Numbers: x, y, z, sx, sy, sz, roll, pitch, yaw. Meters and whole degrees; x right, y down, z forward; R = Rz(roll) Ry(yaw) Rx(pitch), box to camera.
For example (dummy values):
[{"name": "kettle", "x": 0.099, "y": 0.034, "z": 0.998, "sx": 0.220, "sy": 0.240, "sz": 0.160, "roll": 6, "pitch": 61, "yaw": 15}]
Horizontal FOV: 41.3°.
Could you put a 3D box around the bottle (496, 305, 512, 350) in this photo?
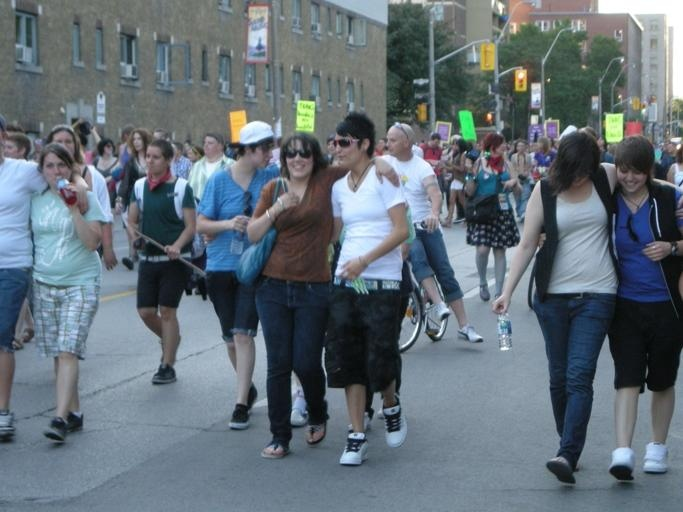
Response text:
[{"name": "bottle", "x": 1.113, "y": 0.506, "z": 6.226, "sx": 0.078, "sy": 0.328, "sz": 0.314, "roll": 0, "pitch": 8, "yaw": 7}]

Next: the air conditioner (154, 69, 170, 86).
[{"name": "air conditioner", "x": -6.974, "y": -7.014, "z": 35.410, "sx": 0.566, "sy": 0.843, "sz": 0.555, "roll": -1, "pitch": 4, "yaw": -39}]

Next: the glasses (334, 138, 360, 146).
[{"name": "glasses", "x": 0.037, "y": -0.789, "z": 6.275, "sx": 0.157, "sy": 0.063, "sz": 0.045, "roll": -2, "pitch": 8, "yaw": -2}]

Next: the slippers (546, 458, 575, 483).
[{"name": "slippers", "x": 1.361, "y": 1.353, "z": 5.631, "sx": 0.099, "sy": 0.249, "sz": 0.105, "roll": -6, "pitch": 34, "yaw": 38}]

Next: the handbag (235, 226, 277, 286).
[{"name": "handbag", "x": -0.595, "y": -0.004, "z": 6.371, "sx": 0.284, "sy": 0.401, "sz": 0.100, "roll": -2, "pitch": 8, "yaw": -8}]

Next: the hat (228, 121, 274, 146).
[{"name": "hat", "x": -0.703, "y": -0.969, "z": 7.124, "sx": 0.243, "sy": 0.135, "sz": 0.186, "roll": -6, "pitch": 9, "yaw": 19}]

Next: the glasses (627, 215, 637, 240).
[{"name": "glasses", "x": 1.845, "y": -0.184, "z": 5.835, "sx": 0.022, "sy": 0.125, "sz": 0.086, "roll": -9, "pitch": -3, "yaw": 10}]

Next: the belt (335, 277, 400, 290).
[{"name": "belt", "x": 0.178, "y": 0.184, "z": 6.205, "sx": 0.443, "sy": 0.105, "sz": 0.088, "roll": -2, "pitch": 8, "yaw": -5}]

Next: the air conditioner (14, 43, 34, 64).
[{"name": "air conditioner", "x": -9.724, "y": -6.137, "z": 27.819, "sx": 0.408, "sy": 0.582, "sz": 0.768, "roll": 0, "pitch": 3, "yaw": 5}]

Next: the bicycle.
[{"name": "bicycle", "x": 0.839, "y": 0.549, "z": 9.957, "sx": 0.481, "sy": 1.001, "sz": 1.102, "roll": 2, "pitch": 8, "yaw": 10}]

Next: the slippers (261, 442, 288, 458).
[{"name": "slippers", "x": -0.465, "y": 1.341, "z": 6.324, "sx": 0.087, "sy": 0.082, "sz": 0.188, "roll": -6, "pitch": -10, "yaw": 44}]

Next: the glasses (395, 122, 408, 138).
[{"name": "glasses", "x": 0.606, "y": -1.299, "z": 9.336, "sx": 0.105, "sy": 0.148, "sz": 0.054, "roll": 8, "pitch": 21, "yaw": 44}]

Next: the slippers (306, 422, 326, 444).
[{"name": "slippers", "x": -0.190, "y": 1.271, "z": 6.672, "sx": 0.149, "sy": 0.154, "sz": 0.222, "roll": -2, "pitch": 9, "yaw": -5}]

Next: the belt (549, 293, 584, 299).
[{"name": "belt", "x": 1.438, "y": 0.248, "z": 5.849, "sx": 0.218, "sy": 0.044, "sz": 0.011, "roll": 4, "pitch": 9, "yaw": 28}]

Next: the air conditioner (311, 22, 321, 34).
[{"name": "air conditioner", "x": -1.392, "y": -12.119, "z": 48.451, "sx": 0.543, "sy": 0.616, "sz": 0.569, "roll": 4, "pitch": 7, "yaw": 8}]

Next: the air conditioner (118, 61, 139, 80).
[{"name": "air conditioner", "x": -7.838, "y": -6.958, "z": 33.370, "sx": 0.425, "sy": 0.634, "sz": 0.845, "roll": -1, "pitch": 4, "yaw": 5}]

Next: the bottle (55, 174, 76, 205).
[{"name": "bottle", "x": -2.073, "y": -0.494, "z": 6.793, "sx": 0.076, "sy": 0.080, "sz": 0.268, "roll": 40, "pitch": 5, "yaw": -42}]
